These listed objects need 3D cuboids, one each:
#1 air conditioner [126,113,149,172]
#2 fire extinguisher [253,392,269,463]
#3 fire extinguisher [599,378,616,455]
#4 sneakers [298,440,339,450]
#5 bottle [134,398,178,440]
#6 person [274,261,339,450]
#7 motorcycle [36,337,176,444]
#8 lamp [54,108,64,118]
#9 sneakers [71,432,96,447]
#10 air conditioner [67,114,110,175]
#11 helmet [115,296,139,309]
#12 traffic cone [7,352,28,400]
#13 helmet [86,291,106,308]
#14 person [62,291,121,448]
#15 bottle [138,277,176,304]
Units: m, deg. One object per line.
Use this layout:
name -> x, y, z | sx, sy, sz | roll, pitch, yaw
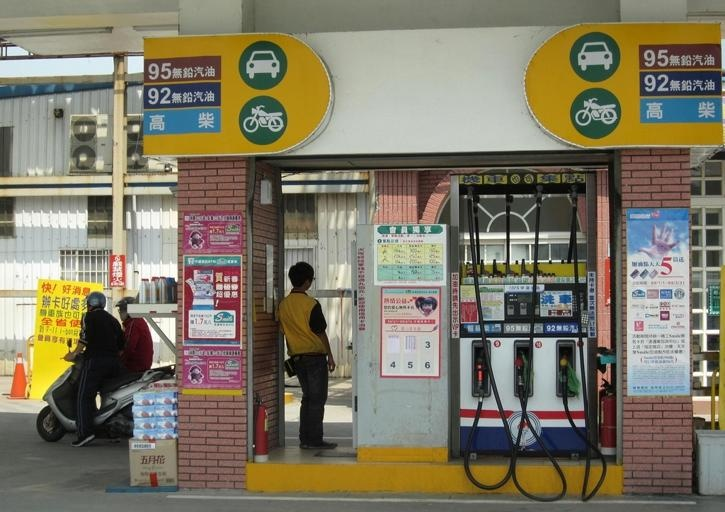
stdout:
air conditioner -> -4.185, -2.094, 24.547 | 0.382, 1.051, 0.251 | 0, -3, 1
fire extinguisher -> -1.267, 2.133, 16.352 | 0.162, 0.791, 0.201 | 1, -3, -6
fire extinguisher -> 2.983, 1.994, 16.300 | 0.202, 0.896, 0.419 | 0, -3, 9
sneakers -> -0.566, 2.377, 16.854 | 0.453, 0.189, 0.157 | 0, -5, -6
bottle -> -2.556, 2.020, 16.377 | 0.446, 0.357, 0.449 | 0, -2, 0
person -> -0.720, 1.264, 16.922 | 0.714, 2.375, 0.531 | 1, -3, -18
motorcycle -> -3.649, 1.881, 18.592 | 2.030, 1.471, 0.799 | -3, -6, 8
lamp -> -5.779, -2.699, 25.174 | 0.168, 0.159, 0.169 | -2, -2, 41
sneakers -> -3.880, 2.542, 18.282 | 0.396, 0.185, 0.151 | -4, -4, 18
air conditioner -> -5.158, -2.125, 24.927 | 1.066, 1.053, 1.080 | 9, 10, 35
helmet -> -3.357, 0.645, 18.851 | 0.372, 0.192, 0.269 | 8, -5, -11
traffic cone -> -5.833, 2.055, 22.479 | 0.287, 0.695, 0.929 | 1, -4, -15
helmet -> -3.735, 0.620, 18.621 | 0.211, 0.263, 0.253 | 0, 6, -21
person -> -3.673, 1.563, 18.438 | 0.654, 2.140, 0.458 | 2, -4, -22
bottle -> -2.718, 0.465, 17.671 | 0.372, 0.296, 0.391 | 0, -2, 0
